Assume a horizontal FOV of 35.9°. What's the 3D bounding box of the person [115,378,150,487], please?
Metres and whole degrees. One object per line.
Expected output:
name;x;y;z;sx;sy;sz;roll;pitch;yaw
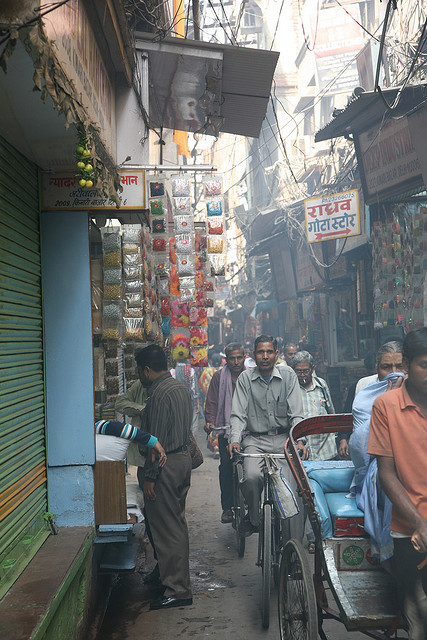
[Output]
person;-0.608;0.848;4.968;0.233;0.828;0.347;-1;29;-12

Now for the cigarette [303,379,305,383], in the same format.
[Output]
cigarette;0.777;0.528;5.759;0.010;0.029;0.008;2;-5;-8

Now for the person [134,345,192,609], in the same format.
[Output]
person;-0.312;0.993;4.345;0.348;1.665;0.438;0;-3;-6

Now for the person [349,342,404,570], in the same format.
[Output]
person;0.750;0.546;3.151;0.177;0.889;0.248;16;-10;-5

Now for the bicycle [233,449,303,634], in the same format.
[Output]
bicycle;0.325;1.296;4.162;0.346;1.034;0.891;-1;-3;1
